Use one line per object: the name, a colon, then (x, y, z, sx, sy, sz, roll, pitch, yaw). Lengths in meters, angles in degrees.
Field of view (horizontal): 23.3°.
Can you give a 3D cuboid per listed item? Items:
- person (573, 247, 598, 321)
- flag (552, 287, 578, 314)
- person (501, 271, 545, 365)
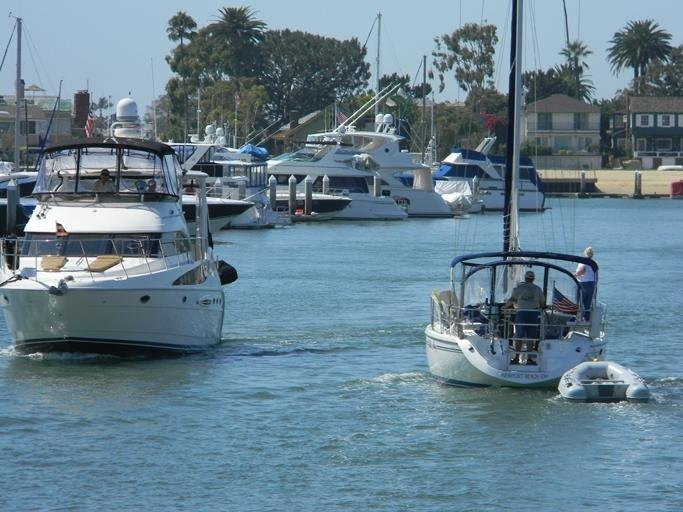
person: (6.535, 0.684, 44.836, 0.647, 1.957, 0.726, 5, 6, 27)
flag: (5.865, 1.135, 43.513, 1.030, 0.112, 1.046, 8, 27, 5)
person: (4.813, 1.528, 42.808, 1.220, 2.216, 1.140, 1, 6, -4)
